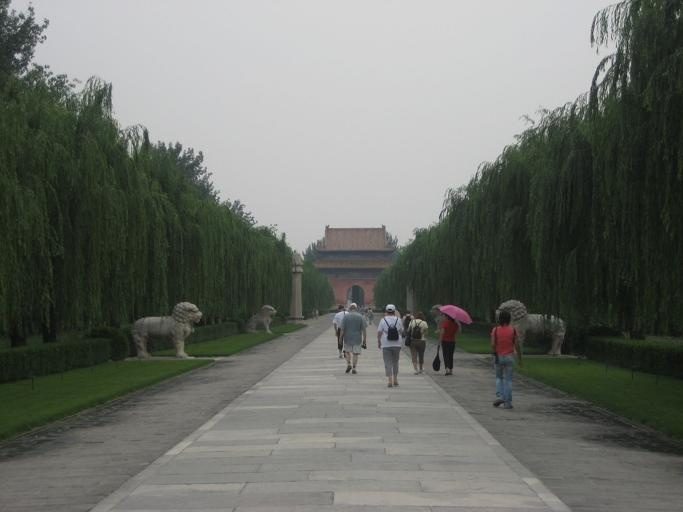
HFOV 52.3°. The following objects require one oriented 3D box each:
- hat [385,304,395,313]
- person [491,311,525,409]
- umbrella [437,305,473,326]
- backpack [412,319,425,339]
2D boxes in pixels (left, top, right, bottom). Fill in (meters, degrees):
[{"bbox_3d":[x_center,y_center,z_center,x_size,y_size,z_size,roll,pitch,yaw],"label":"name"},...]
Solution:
[{"bbox_3d":[1.108,1.283,16.149,0.238,0.205,0.386,1,-2,8],"label":"hat"},{"bbox_3d":[3.075,1.966,13.035,0.513,1.785,0.943,-1,-6,13],"label":"person"},{"bbox_3d":[2.797,1.482,17.271,0.671,0.421,1.172,-1,-7,8],"label":"umbrella"},{"bbox_3d":[1.976,1.970,18.021,0.367,0.554,0.548,0,-20,4],"label":"backpack"}]
